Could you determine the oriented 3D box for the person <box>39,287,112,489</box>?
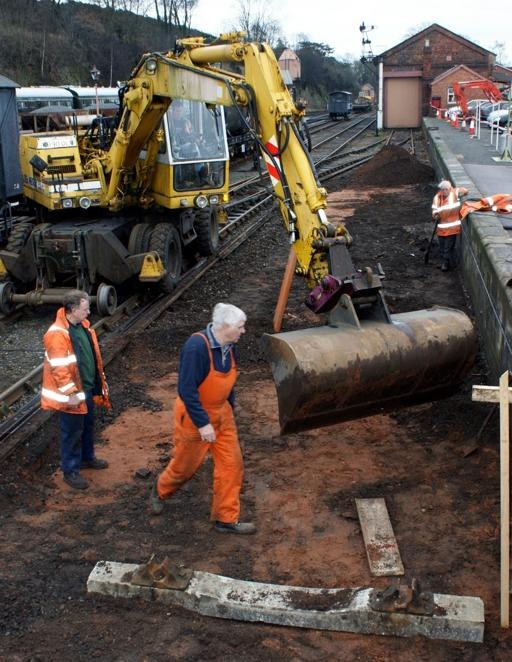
[{"bbox_3d":[-1.434,0.473,4.177,0.427,1.587,0.566,-1,15,12],"label":"person"}]

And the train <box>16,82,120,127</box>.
[{"bbox_3d":[-6.816,-8.220,19.266,0.757,0.966,3.964,27,36,34],"label":"train"}]

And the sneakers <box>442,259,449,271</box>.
[{"bbox_3d":[3.655,-1.276,10.201,0.195,0.202,0.550,2,8,21],"label":"sneakers"}]

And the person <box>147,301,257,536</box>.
[{"bbox_3d":[-0.348,0.617,3.526,0.586,1.617,0.584,-10,16,-22],"label":"person"}]

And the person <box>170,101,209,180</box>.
[{"bbox_3d":[-1.282,-3.297,8.915,0.776,1.051,0.673,14,36,24],"label":"person"}]

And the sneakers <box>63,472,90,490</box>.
[{"bbox_3d":[-1.453,1.213,4.268,0.225,0.091,0.100,8,20,27],"label":"sneakers"}]

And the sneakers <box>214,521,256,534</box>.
[{"bbox_3d":[-0.143,1.330,3.663,0.282,0.122,0.100,0,9,0],"label":"sneakers"}]

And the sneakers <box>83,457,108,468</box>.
[{"bbox_3d":[-1.381,1.145,4.591,0.208,0.091,0.085,0,12,0],"label":"sneakers"}]
